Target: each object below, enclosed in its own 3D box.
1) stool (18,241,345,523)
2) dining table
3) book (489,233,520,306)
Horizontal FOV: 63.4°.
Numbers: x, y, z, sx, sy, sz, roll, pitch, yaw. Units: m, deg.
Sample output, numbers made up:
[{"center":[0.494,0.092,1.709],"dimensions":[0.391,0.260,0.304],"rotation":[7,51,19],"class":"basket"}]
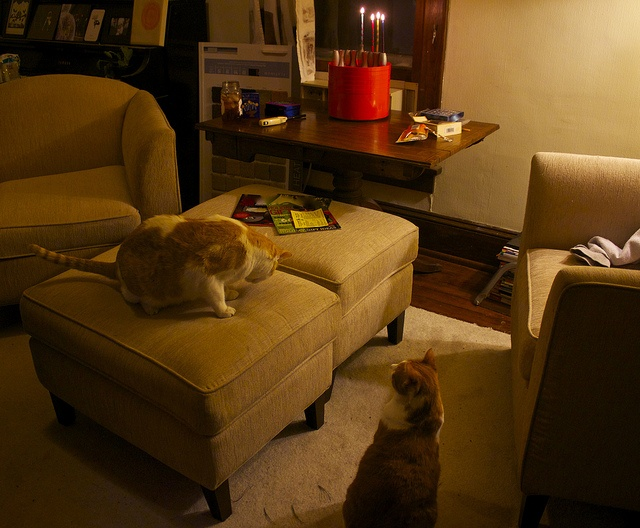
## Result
[{"center":[-0.363,0.311,1.699],"dimensions":[0.866,0.632,0.691],"rotation":[21,41,32],"class":"stool"},{"center":[0.111,-0.588,2.469],"dimensions":[1.284,0.208,0.659],"rotation":[12,22,26],"class":"dining table"},{"center":[0.943,0.029,2.641],"dimensions":[0.061,0.291,0.261],"rotation":[18,30,26],"class":"book"}]
